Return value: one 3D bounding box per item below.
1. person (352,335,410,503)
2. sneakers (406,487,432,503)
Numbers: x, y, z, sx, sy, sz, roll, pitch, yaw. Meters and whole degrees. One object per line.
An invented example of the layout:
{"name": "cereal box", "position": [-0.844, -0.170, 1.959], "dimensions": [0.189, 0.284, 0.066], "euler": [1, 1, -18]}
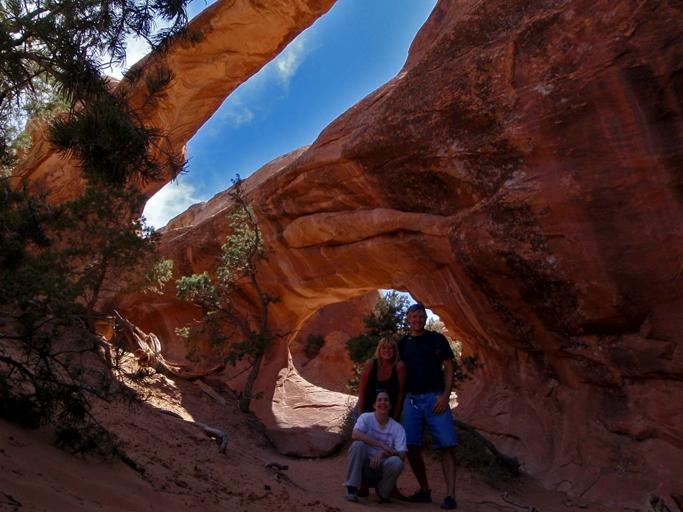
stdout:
{"name": "person", "position": [0.508, 2.102, 6.953], "dimensions": [0.636, 2.162, 0.633], "euler": [3, -4, 4]}
{"name": "sneakers", "position": [1.001, 3.073, 6.813], "dimensions": [0.400, 0.171, 0.139], "euler": [-3, -16, 13]}
